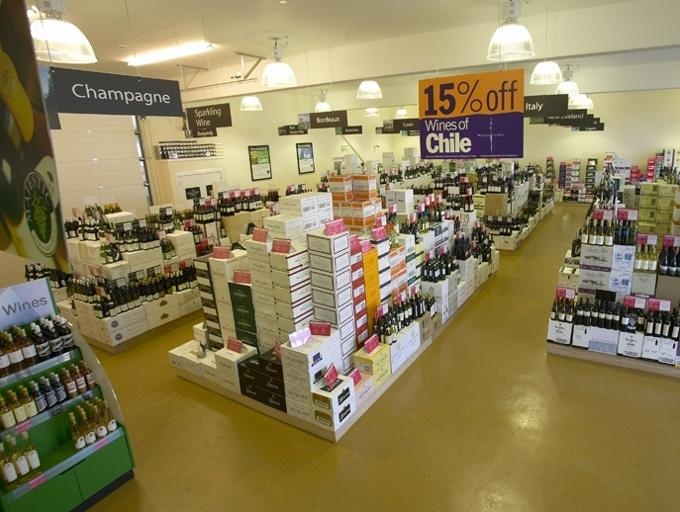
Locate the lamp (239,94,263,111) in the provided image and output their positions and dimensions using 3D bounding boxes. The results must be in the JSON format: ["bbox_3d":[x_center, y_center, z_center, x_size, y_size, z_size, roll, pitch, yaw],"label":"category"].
[{"bbox_3d":[-1.546,-2.754,8.221,0.230,0.223,0.542,0,17,15],"label":"lamp"}]

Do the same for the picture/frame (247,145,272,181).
[{"bbox_3d":[-2.539,-2.975,14.496,0.091,1.065,0.992,4,16,28],"label":"picture/frame"}]
